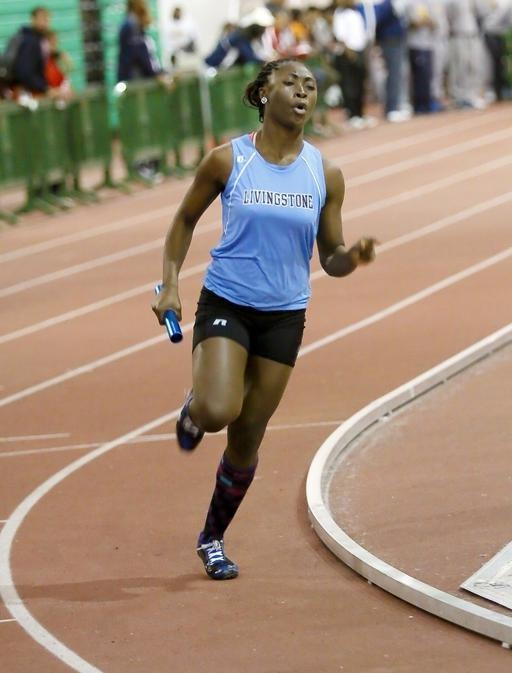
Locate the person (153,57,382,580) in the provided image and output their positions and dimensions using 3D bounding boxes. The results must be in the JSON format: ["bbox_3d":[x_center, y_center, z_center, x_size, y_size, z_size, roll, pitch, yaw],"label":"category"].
[{"bbox_3d":[0.012,-0.012,2.542,0.669,1.694,0.538,-6,11,-4],"label":"person"}]

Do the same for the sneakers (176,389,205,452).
[{"bbox_3d":[-0.232,0.282,2.578,0.085,0.205,0.087,6,19,-17],"label":"sneakers"}]

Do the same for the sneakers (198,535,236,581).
[{"bbox_3d":[-0.139,0.764,2.743,0.072,0.078,0.188,-3,15,-27],"label":"sneakers"}]
